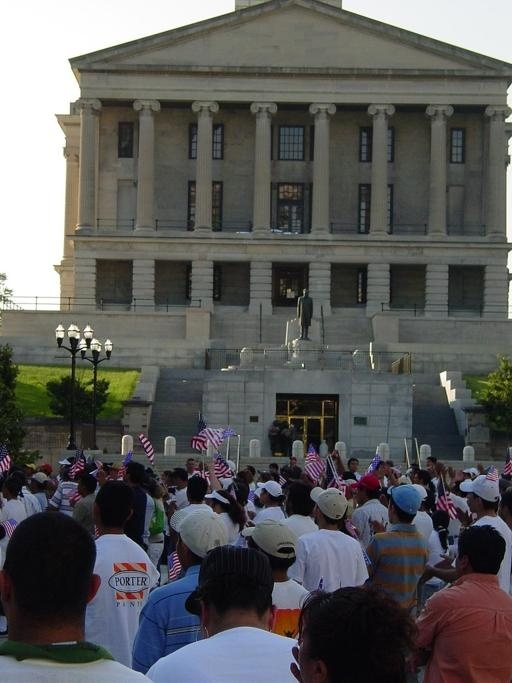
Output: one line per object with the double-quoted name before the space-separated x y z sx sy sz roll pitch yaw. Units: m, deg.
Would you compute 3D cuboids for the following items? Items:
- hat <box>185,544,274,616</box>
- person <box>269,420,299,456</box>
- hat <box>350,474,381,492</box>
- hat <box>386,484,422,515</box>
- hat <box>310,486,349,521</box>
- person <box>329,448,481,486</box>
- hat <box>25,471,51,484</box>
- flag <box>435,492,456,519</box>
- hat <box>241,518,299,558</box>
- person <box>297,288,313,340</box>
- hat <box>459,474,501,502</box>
"hat" -0.145 1.319 8.826 0.442 0.223 0.346 10 -26 -27
"person" 0.712 2.795 43.991 0.994 1.218 0.915 1 -6 -15
"hat" 1.037 1.347 14.607 0.214 0.123 0.157 8 5 27
"hat" 1.201 1.252 12.457 0.198 0.162 0.277 -3 44 -13
"hat" 0.574 1.293 12.198 0.199 0.175 0.299 -6 34 -20
"person" 2.812 2.252 27.835 1.415 0.479 2.015 7 -4 -27
"hat" -2.756 1.682 18.929 0.269 0.146 0.175 9 -1 19
"flag" 2.040 1.774 16.491 0.321 0.295 0.035 9 19 20
"hat" 0.071 1.340 10.456 0.200 0.159 0.317 -7 24 -31
"person" 1.626 -0.770 52.322 0.419 1.481 1.063 2 -5 -1
"hat" 1.835 1.280 12.810 0.347 0.199 0.250 9 7 29
